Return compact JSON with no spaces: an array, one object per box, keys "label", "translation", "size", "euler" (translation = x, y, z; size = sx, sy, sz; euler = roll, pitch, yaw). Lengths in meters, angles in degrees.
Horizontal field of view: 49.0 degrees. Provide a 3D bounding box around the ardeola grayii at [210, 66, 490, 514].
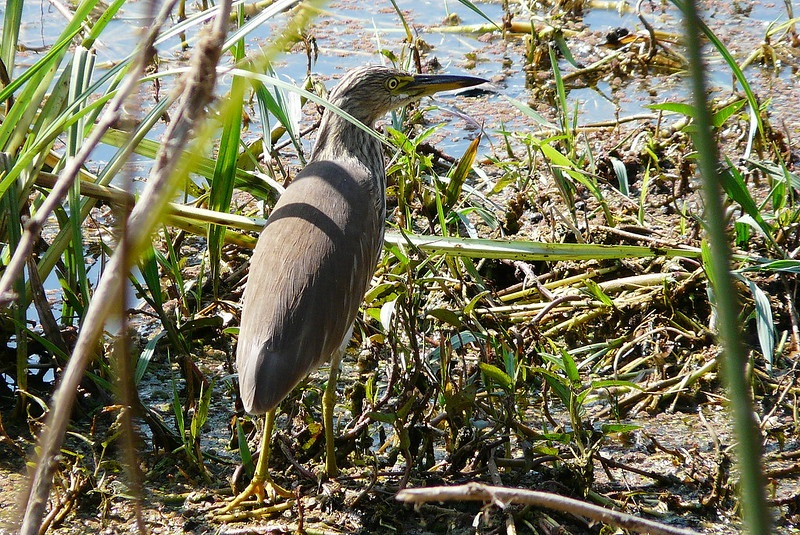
[{"label":"ardeola grayii","translation":[-0.354,-0.053,3.940],"size":[0.518,2.219,1.076],"euler":[8,-9,-1]}]
